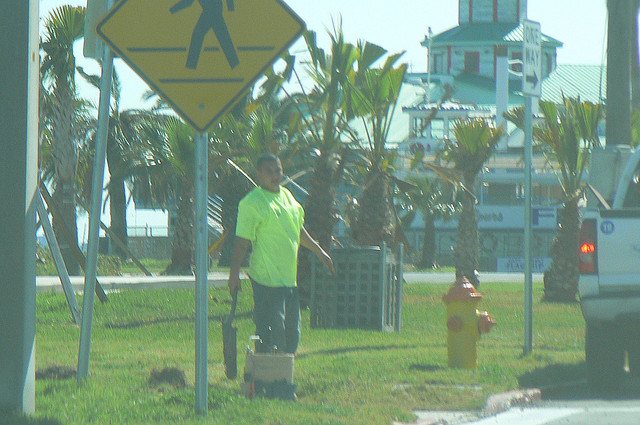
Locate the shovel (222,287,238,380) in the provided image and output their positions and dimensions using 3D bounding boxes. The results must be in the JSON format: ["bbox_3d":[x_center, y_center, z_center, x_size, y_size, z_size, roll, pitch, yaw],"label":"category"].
[{"bbox_3d":[-1.464,1.963,22.434,0.258,1.412,0.293,1,1,33],"label":"shovel"}]

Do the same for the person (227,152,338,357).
[{"bbox_3d":[-0.861,0.729,22.481,1.003,4.042,1.301,0,0,-31],"label":"person"}]

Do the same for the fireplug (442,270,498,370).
[{"bbox_3d":[2.524,1.885,23.946,0.792,1.596,0.704,-4,-4,38],"label":"fireplug"}]
